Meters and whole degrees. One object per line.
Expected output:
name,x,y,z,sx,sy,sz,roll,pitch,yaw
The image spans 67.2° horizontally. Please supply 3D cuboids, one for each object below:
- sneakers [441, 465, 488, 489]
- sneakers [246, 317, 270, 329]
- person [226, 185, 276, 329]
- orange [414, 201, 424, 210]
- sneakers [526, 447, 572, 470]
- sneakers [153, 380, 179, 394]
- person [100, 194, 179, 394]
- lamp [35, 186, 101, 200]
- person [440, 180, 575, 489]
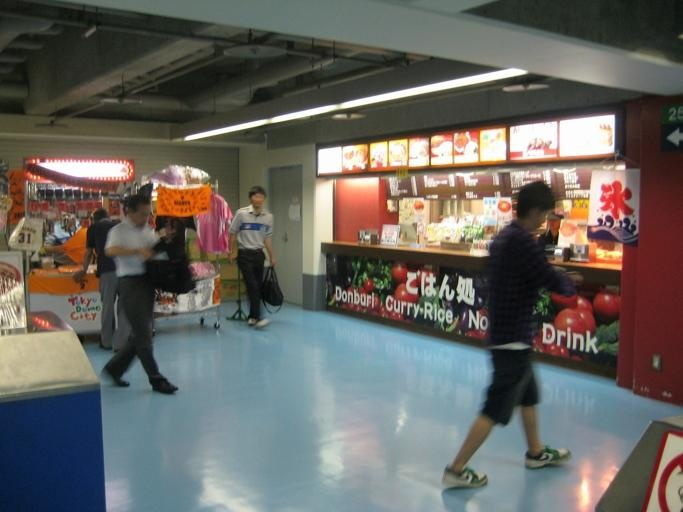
sneakers,0.903,1.619,3.793,0.299,0.158,0.147,-1,1,-17
sneakers,-1.365,1.100,8.339,0.324,0.170,0.136,-10,-10,31
person,-1.436,-0.005,8.464,0.735,2.263,0.530,4,8,37
orange,1.310,-0.847,8.684,0.123,0.110,0.130,0,5,2
sneakers,1.618,1.579,4.076,0.358,0.176,0.149,-3,0,-16
sneakers,-1.902,1.411,5.504,0.196,0.083,0.147,2,0,15
person,-2.172,0.416,5.468,0.600,2.112,0.702,-5,7,-35
lamp,-5.267,-1.191,9.954,1.039,0.260,0.300,-5,8,-30
person,1.195,0.591,3.684,0.821,2.225,0.397,1,6,14
